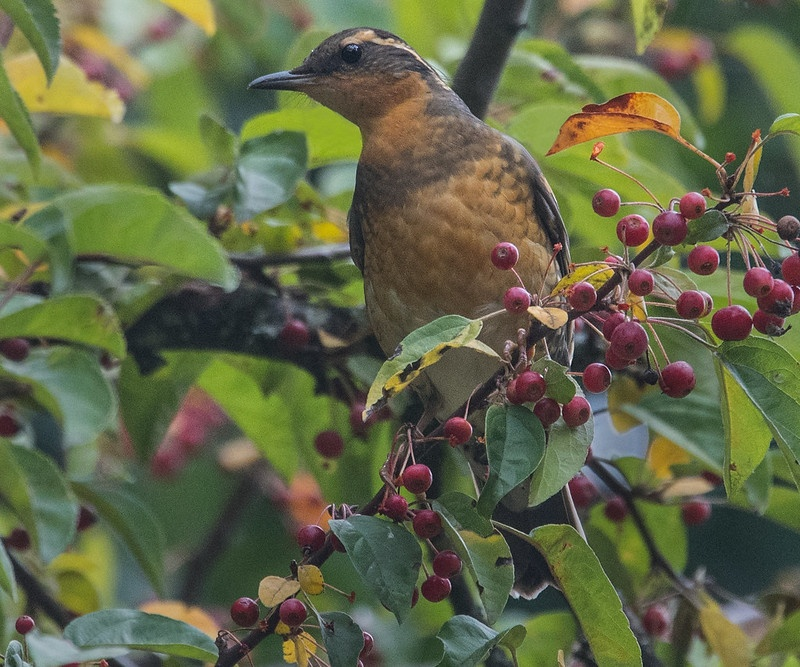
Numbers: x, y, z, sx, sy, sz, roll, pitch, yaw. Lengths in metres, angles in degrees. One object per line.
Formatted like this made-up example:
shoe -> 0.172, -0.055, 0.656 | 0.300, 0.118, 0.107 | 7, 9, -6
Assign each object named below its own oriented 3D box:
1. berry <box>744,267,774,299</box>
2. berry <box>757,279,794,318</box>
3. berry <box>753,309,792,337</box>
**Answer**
berry -> 0.747, -0.109, 2.900 | 0.056, 0.062, 0.063 | 20, -16, -35
berry -> 0.797, -0.072, 2.974 | 0.072, 0.092, 0.077 | -8, -11, -7
berry -> 0.807, -0.016, 2.995 | 0.066, 0.054, 0.051 | 22, -3, 36
